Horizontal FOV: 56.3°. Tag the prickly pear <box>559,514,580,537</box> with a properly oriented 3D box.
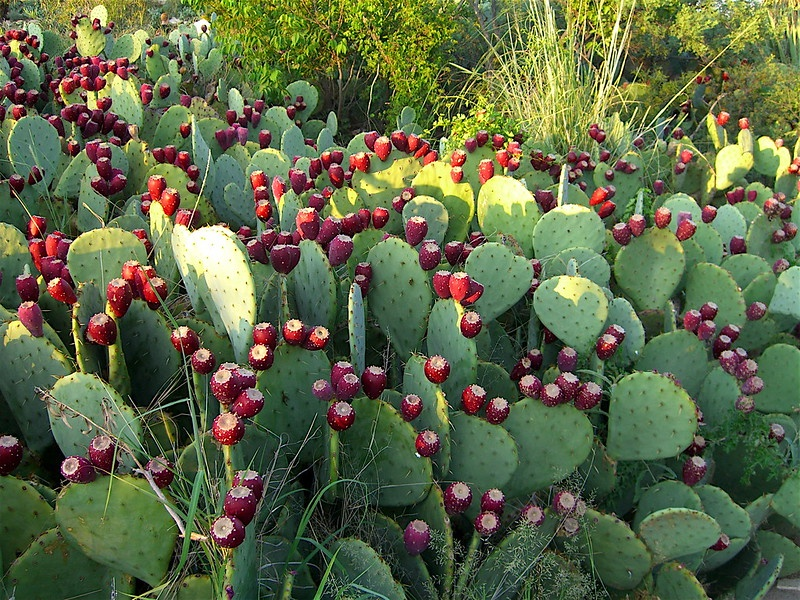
[{"bbox_3d":[0.579,0.768,2.539,0.066,0.075,0.015,-13,-29,38],"label":"prickly pear"}]

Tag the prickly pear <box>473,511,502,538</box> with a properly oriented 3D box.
[{"bbox_3d":[0.284,0.731,2.495,0.074,0.080,0.072,-29,4,-13],"label":"prickly pear"}]

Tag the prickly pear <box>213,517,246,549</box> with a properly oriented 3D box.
[{"bbox_3d":[-0.482,0.648,2.093,0.079,0.086,0.049,-36,-14,-10],"label":"prickly pear"}]

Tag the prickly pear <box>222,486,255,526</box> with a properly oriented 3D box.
[{"bbox_3d":[-0.455,0.574,2.169,0.087,0.109,0.098,10,29,4],"label":"prickly pear"}]
